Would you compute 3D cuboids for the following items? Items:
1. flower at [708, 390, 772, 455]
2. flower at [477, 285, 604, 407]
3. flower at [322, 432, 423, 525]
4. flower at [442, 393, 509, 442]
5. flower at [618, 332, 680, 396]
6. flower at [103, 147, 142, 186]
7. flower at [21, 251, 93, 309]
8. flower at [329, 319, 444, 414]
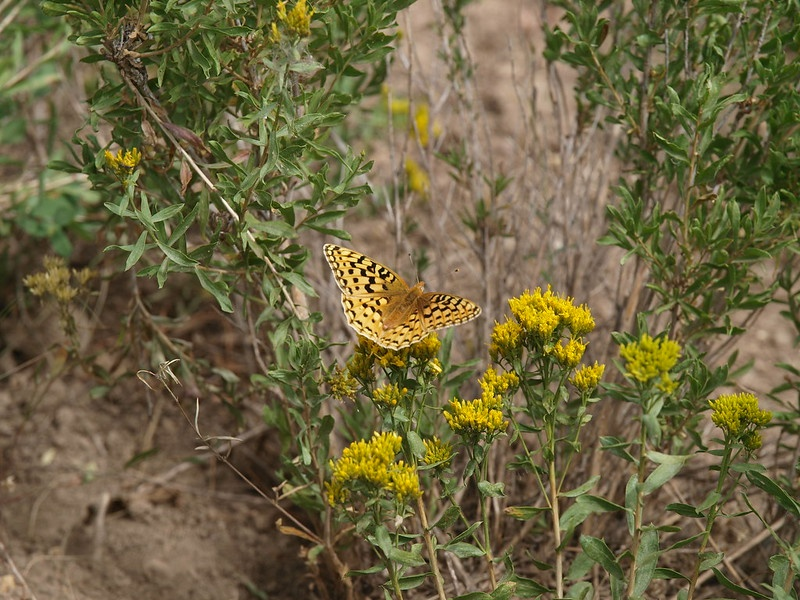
[{"bbox_3d":[1.153,0.395,3.238,0.167,0.198,0.220,22,88,-16],"label":"flower"},{"bbox_3d":[0.496,0.182,3.382,0.345,0.557,0.433,-7,36,-10],"label":"flower"},{"bbox_3d":[-0.102,0.597,3.227,0.236,0.297,0.337,7,82,-5],"label":"flower"},{"bbox_3d":[0.261,0.395,3.202,0.140,0.176,0.133,-6,96,12],"label":"flower"},{"bbox_3d":[0.818,0.239,3.131,0.173,0.213,0.206,11,70,3],"label":"flower"},{"bbox_3d":[-0.978,-0.475,3.329,0.128,0.166,0.135,0,18,-6],"label":"flower"},{"bbox_3d":[-1.345,-0.052,3.745,0.235,0.169,0.233,-35,45,-30],"label":"flower"},{"bbox_3d":[-0.024,0.281,3.381,0.263,0.202,0.321,14,52,19],"label":"flower"}]
